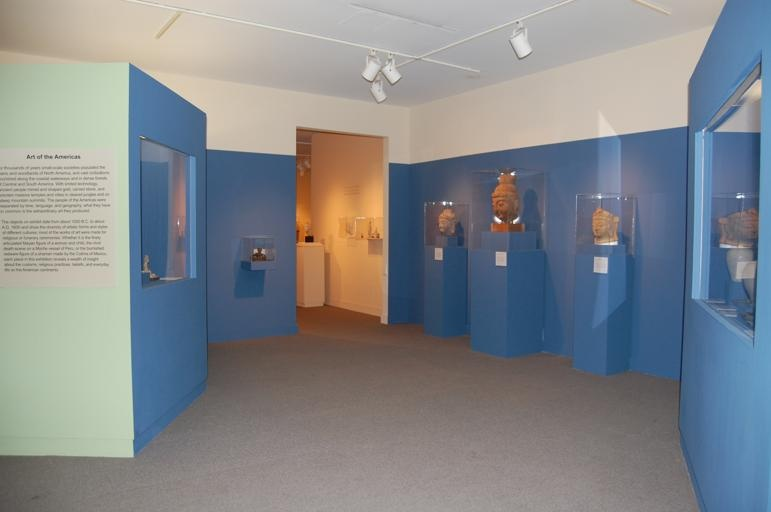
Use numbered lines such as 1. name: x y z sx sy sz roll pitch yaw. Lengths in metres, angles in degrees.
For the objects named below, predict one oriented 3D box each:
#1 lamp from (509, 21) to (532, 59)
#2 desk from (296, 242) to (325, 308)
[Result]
1. lamp: 1.566 -2.499 6.118 0.236 0.441 0.668 2 10 13
2. desk: -1.669 0.413 11.305 0.480 1.311 1.266 -2 5 -24
